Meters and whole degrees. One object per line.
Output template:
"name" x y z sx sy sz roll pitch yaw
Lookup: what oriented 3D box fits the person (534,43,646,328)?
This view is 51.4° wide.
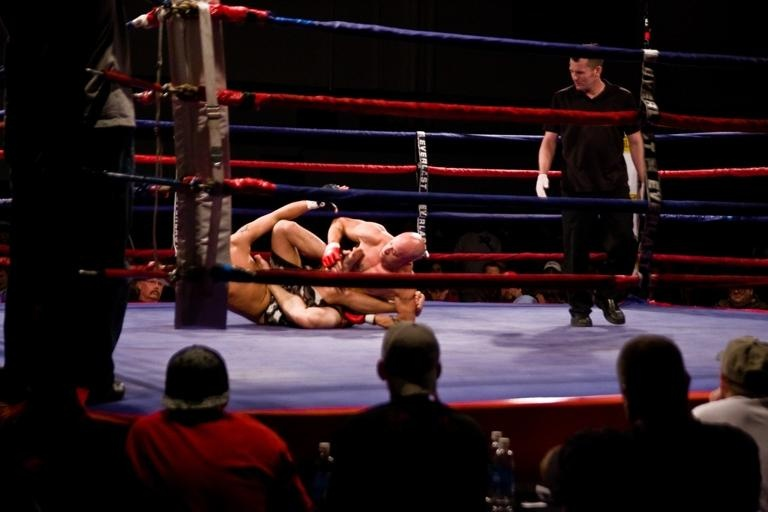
"person" 1.197 -0.367 4.732 0.623 1.587 1.347 2 -4 16

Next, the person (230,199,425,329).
"person" -0.469 0.088 4.835 1.402 0.436 0.701 1 4 -3

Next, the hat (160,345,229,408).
"hat" -0.660 0.454 2.953 0.279 0.173 0.242 1 -7 -2

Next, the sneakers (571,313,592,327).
"sneakers" 1.186 0.390 4.787 0.132 0.083 0.156 1 -3 11
